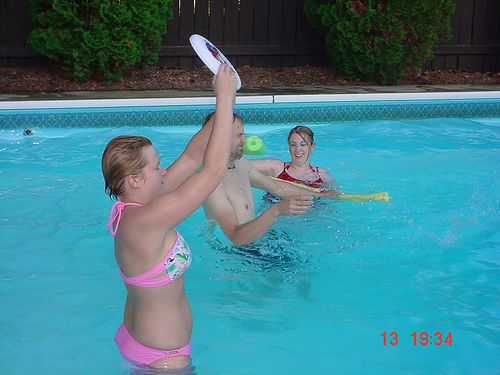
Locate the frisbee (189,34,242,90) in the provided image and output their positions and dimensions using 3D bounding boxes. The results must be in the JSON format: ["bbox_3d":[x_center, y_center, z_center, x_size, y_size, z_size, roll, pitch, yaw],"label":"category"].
[{"bbox_3d":[-0.186,-0.617,1.956,0.168,0.155,0.365,-7,23,-5],"label":"frisbee"}]

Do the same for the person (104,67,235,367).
[{"bbox_3d":[-0.441,0.362,1.964,0.587,1.158,0.323,-8,25,-5],"label":"person"}]

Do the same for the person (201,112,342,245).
[{"bbox_3d":[0.200,0.021,2.954,1.156,1.041,0.711,-2,27,10],"label":"person"}]

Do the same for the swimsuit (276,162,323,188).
[{"bbox_3d":[0.565,-0.143,4.612,0.382,0.253,0.212,8,13,-2],"label":"swimsuit"}]

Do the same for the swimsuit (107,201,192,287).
[{"bbox_3d":[-0.471,0.254,1.946,0.352,0.407,0.210,-6,24,0],"label":"swimsuit"}]
